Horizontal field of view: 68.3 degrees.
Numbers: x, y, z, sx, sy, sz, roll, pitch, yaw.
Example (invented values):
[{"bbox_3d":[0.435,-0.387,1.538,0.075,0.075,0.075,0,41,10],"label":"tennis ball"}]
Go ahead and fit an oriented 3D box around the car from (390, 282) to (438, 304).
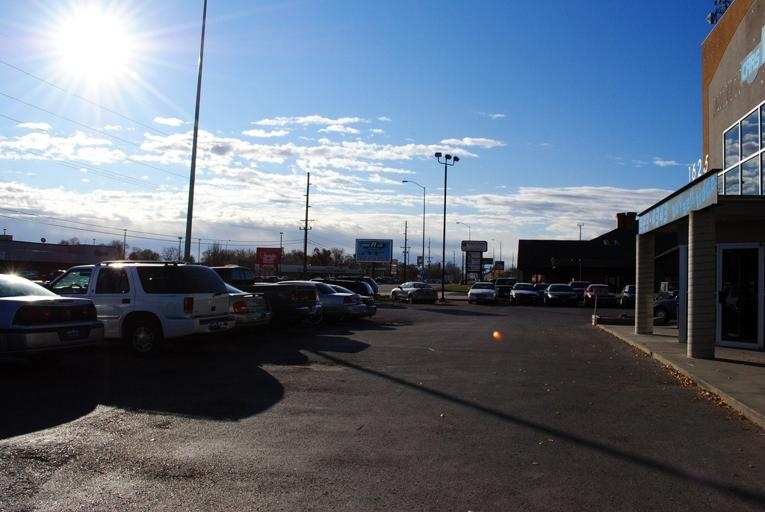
[{"bbox_3d":[2.200,2.740,41.431,1.717,1.430,3.407,0,3,-33],"label":"car"}]
